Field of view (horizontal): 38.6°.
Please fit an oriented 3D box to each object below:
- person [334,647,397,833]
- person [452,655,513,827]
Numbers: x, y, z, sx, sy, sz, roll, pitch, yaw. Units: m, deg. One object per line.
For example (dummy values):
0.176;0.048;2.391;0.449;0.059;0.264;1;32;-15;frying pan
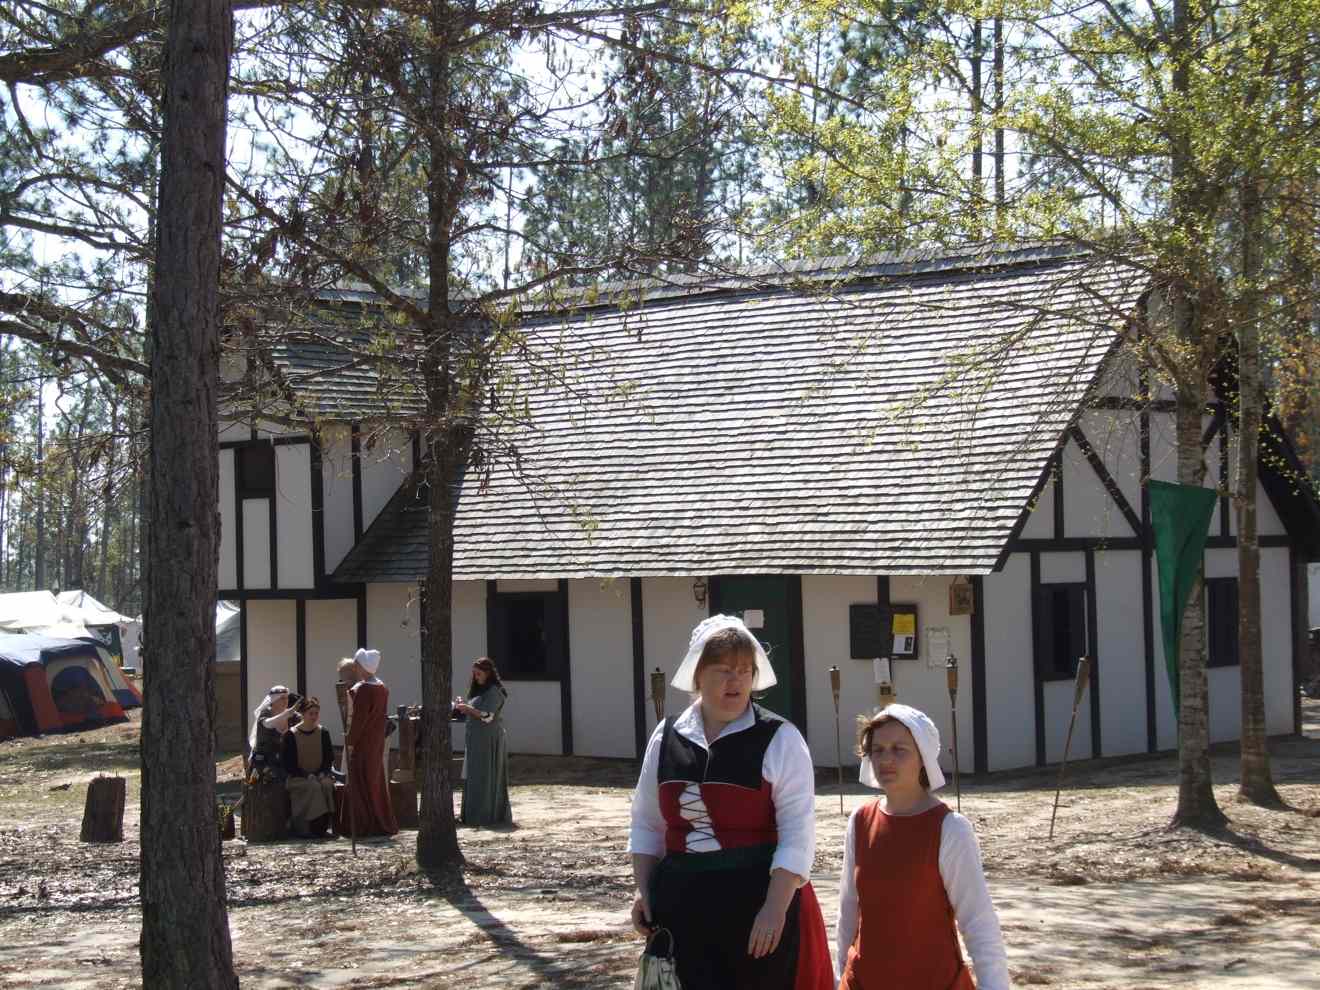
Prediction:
-3.201;2.749;20.715;0.649;2.020;1.195;0;-7;-10;person
-2.041;2.861;21.777;0.650;1.911;0.620;0;-6;-8;person
